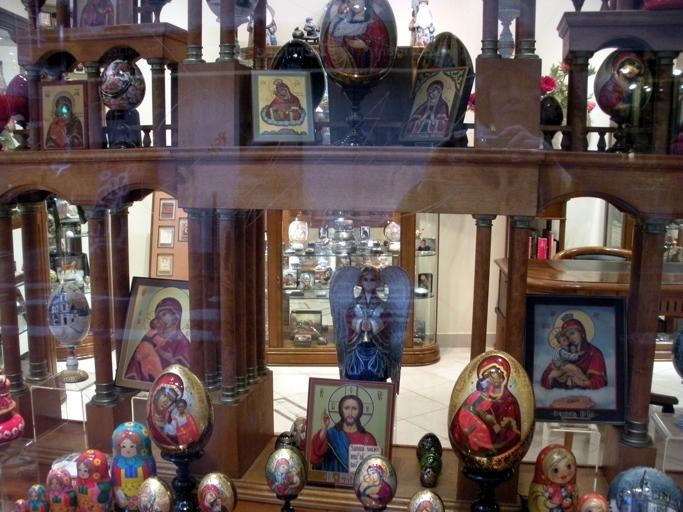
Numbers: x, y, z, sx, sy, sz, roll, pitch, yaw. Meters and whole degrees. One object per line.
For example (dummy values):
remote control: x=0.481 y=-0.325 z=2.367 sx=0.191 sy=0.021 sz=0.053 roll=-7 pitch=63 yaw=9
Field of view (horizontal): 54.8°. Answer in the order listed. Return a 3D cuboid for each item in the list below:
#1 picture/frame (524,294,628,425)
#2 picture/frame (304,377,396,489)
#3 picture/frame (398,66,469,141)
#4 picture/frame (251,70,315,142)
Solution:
picture/frame: x=0.847 y=0.385 z=2.414 sx=0.327 sy=0.517 sz=0.018 roll=-2 pitch=20 yaw=16
picture/frame: x=0.037 y=0.656 z=2.387 sx=0.308 sy=0.436 sz=0.056 roll=2 pitch=-5 yaw=8
picture/frame: x=0.338 y=-0.546 z=2.366 sx=0.197 sy=0.293 sz=0.029 roll=4 pitch=-22 yaw=31
picture/frame: x=-0.209 y=-0.550 z=2.382 sx=0.215 sy=0.278 sz=0.014 roll=-1 pitch=43 yaw=-4
